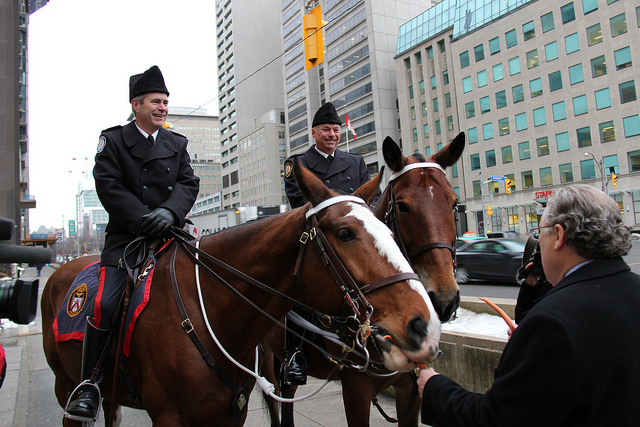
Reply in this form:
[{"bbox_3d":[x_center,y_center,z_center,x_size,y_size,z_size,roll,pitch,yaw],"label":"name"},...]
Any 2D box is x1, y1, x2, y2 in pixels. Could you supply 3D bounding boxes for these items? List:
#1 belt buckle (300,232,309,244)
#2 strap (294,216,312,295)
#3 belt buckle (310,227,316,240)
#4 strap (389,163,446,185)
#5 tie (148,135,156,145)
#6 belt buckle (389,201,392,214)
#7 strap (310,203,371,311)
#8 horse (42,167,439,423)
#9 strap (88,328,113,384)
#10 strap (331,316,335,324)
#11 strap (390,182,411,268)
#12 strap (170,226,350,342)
[{"bbox_3d":[-0.117,0.177,3.269,0.052,0.076,0.024,28,7,35],"label":"belt buckle"},{"bbox_3d":[-0.128,0.264,3.274,0.082,0.454,0.262,8,-4,-23],"label":"strap"},{"bbox_3d":[-0.050,0.146,3.221,0.014,0.128,0.061,19,-26,-40],"label":"belt buckle"},{"bbox_3d":[0.956,-0.398,4.484,0.540,0.191,0.183,-2,-2,10],"label":"strap"},{"bbox_3d":[-1.687,-0.736,4.541,0.021,0.082,0.058,-41,-3,23],"label":"tie"},{"bbox_3d":[0.678,-0.057,4.371,0.027,0.111,0.089,4,-12,0],"label":"belt buckle"},{"bbox_3d":[0.079,0.369,3.169,0.163,0.143,1.321,-22,23,-7],"label":"strap"},{"bbox_3d":[-0.643,0.685,3.485,2.906,1.982,0.696,-2,-2,16],"label":"horse"},{"bbox_3d":[-1.875,1.188,3.842,0.050,0.522,0.072,21,-9,-16],"label":"strap"},{"bbox_3d":[0.090,0.736,3.099,0.010,0.036,0.025,7,-6,-38],"label":"strap"},{"bbox_3d":[0.745,0.079,4.287,0.075,0.719,0.089,-8,-21,-11],"label":"strap"},{"bbox_3d":[-0.477,0.535,3.464,1.742,0.245,0.248,27,28,28],"label":"strap"}]
